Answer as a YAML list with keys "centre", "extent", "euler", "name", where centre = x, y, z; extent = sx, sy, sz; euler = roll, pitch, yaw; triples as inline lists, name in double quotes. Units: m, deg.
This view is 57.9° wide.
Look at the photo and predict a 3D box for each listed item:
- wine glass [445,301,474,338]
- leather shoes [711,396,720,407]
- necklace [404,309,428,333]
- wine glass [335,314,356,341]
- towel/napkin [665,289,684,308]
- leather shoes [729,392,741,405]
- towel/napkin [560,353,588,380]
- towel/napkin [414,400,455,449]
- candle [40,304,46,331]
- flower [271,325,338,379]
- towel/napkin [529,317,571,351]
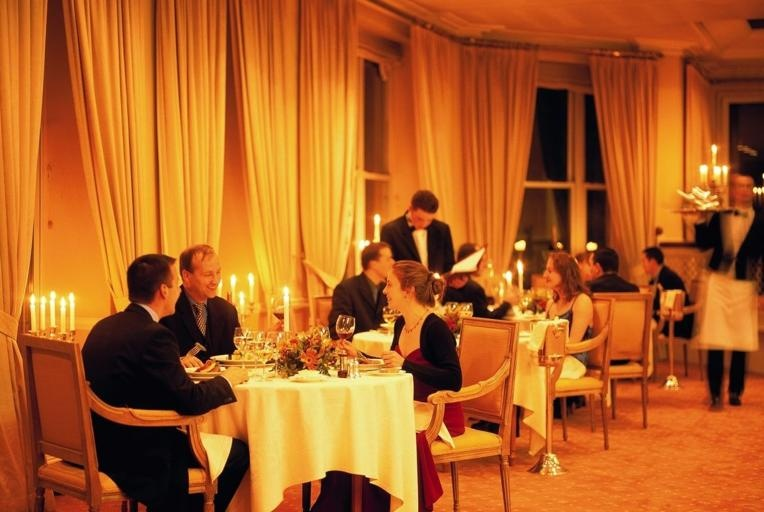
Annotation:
- centre: [0.672, 0.545, 5.980]
  extent: [0.104, 0.289, 0.220]
  euler: [13, -17, -37]
  name: "wine glass"
- centre: [3.540, 1.543, 7.345]
  extent: [0.078, 0.127, 0.133]
  euler: [-5, 7, 9]
  name: "leather shoes"
- centre: [0.229, 0.436, 4.709]
  extent: [0.172, 0.091, 0.134]
  euler: [10, 24, -47]
  name: "necklace"
- centre: [-0.241, 0.475, 4.602]
  extent: [0.105, 0.190, 0.322]
  euler: [-1, 3, -5]
  name: "wine glass"
- centre: [3.593, 0.502, 8.450]
  extent: [0.255, 0.251, 0.182]
  euler: [1, 6, -26]
  name: "towel/napkin"
- centre: [4.003, 1.620, 7.862]
  extent: [0.136, 0.140, 0.118]
  euler: [-2, 4, -13]
  name: "leather shoes"
- centre: [1.722, 1.001, 6.252]
  extent: [0.256, 0.244, 0.146]
  euler: [5, -34, -3]
  name: "towel/napkin"
- centre: [0.321, 1.103, 4.604]
  extent: [0.268, 0.342, 0.244]
  euler: [-1, 4, -18]
  name: "towel/napkin"
- centre: [-2.441, 0.421, 4.994]
  extent: [0.024, 0.237, 0.200]
  euler: [-3, 5, -32]
  name: "candle"
- centre: [-0.457, 0.585, 4.316]
  extent: [0.315, 0.204, 0.299]
  euler: [-1, 0, 43]
  name: "flower"
- centre: [1.327, 0.613, 5.504]
  extent: [0.291, 0.220, 0.224]
  euler: [-4, 1, -18]
  name: "towel/napkin"
